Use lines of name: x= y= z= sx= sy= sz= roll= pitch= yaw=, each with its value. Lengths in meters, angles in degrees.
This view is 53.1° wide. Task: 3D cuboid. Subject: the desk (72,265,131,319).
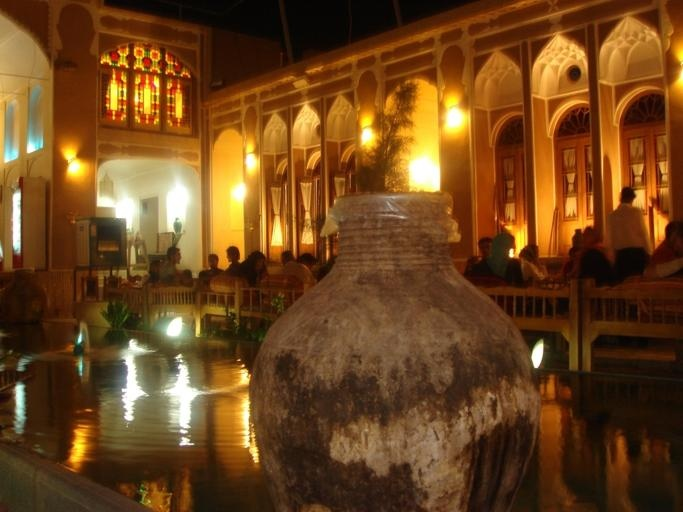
desk: x=-6.175 y=0.838 z=17.588 sx=1.209 sy=1.404 sz=0.923 roll=0 pitch=-18 yaw=-28

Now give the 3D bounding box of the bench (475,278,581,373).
bench: x=2.522 y=0.819 z=9.155 sx=0.932 sy=1.335 sz=1.821 roll=1 pitch=1 yaw=-43
